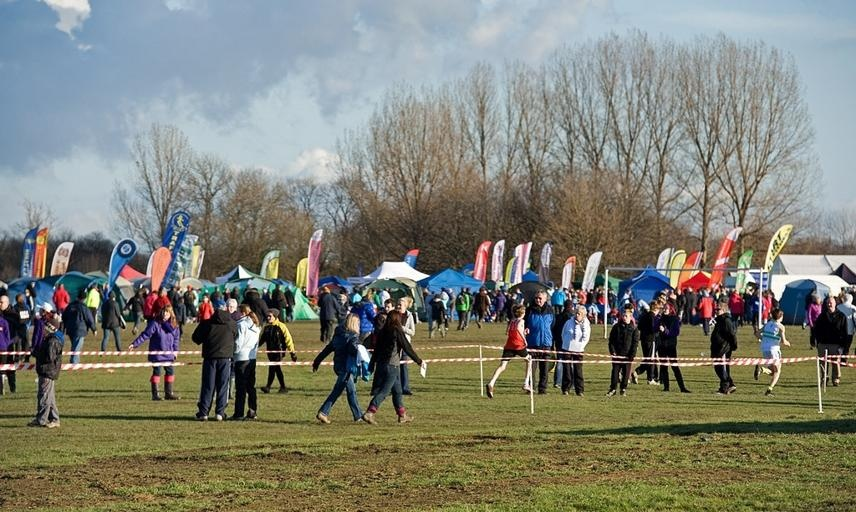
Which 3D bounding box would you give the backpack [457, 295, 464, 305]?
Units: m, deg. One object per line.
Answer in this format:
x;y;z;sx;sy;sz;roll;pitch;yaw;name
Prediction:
1.577;1.975;62.229;0.407;0.516;0.283;-1;-9;14;backpack

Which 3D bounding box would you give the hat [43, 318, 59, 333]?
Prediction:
-11.611;2.097;40.792;0.348;0.453;0.451;-7;36;-47;hat

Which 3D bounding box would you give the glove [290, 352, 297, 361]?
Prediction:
-4.749;3.463;46.619;0.248;0.230;0.784;-10;4;-15;glove

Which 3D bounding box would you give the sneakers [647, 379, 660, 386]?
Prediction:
7.873;4.305;45.808;0.363;0.168;0.156;0;2;-14;sneakers

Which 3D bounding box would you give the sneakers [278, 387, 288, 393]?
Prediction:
-4.849;4.385;44.414;0.295;0.154;0.481;-2;14;-9;sneakers

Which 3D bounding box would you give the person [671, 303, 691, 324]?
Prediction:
10.773;2.280;56.077;0.483;0.398;1.660;1;-28;21;person

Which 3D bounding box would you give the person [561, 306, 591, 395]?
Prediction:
4.953;3.077;44.388;0.890;3.023;1.238;1;13;5;person

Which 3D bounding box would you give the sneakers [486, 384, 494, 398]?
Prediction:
2.095;4.394;43.660;0.205;0.474;0.198;-19;17;-26;sneakers

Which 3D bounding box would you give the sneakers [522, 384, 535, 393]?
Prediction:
3.366;4.338;43.948;0.196;0.234;0.571;-1;-11;-21;sneakers

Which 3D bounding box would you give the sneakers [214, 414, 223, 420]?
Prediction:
-6.572;4.986;41.571;0.181;0.183;0.180;0;-2;-5;sneakers

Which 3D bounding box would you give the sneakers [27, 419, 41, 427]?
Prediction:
-12.222;5.068;40.935;0.203;0.120;0.302;4;4;-9;sneakers

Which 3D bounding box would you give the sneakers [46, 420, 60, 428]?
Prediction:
-11.591;5.115;40.842;0.405;0.178;0.181;-1;-17;-14;sneakers

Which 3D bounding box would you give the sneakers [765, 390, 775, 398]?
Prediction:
11.451;4.507;44.029;0.197;0.175;0.200;7;12;2;sneakers

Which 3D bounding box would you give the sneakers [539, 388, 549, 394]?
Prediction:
3.897;4.467;44.383;0.242;0.159;0.221;3;7;2;sneakers

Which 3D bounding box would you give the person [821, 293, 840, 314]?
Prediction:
14.554;1.633;47.502;0.618;0.773;0.596;-6;-19;23;person

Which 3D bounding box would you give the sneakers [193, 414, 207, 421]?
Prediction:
-7.107;4.979;41.395;0.315;0.136;0.174;0;2;13;sneakers

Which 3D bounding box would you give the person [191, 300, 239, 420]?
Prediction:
-6.719;3.351;41.595;1.109;3.459;1.490;11;16;39;person

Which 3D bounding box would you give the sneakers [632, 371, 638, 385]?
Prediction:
7.261;4.154;46.106;0.190;0.424;0.156;-7;19;20;sneakers

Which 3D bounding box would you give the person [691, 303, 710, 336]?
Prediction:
12.237;2.675;58.314;0.525;1.677;1.468;2;13;9;person

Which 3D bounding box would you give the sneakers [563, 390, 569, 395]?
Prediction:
4.664;4.493;44.340;0.162;0.104;0.172;2;10;15;sneakers

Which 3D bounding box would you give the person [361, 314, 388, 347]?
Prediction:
-1.516;2.365;43.205;0.890;1.213;0.422;-4;-18;42;person

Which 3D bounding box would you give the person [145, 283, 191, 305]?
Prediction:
-11.220;1.556;56.849;1.468;0.437;0.653;-13;31;-23;person

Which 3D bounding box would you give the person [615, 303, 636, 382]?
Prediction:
6.791;3.011;44.718;0.639;3.073;1.567;2;13;8;person

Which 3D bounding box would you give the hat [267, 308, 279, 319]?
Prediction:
-5.223;1.850;44.220;0.272;0.329;0.363;18;19;25;hat

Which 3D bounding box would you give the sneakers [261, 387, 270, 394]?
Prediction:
-5.460;4.378;44.375;0.291;0.135;0.329;-2;14;-11;sneakers
